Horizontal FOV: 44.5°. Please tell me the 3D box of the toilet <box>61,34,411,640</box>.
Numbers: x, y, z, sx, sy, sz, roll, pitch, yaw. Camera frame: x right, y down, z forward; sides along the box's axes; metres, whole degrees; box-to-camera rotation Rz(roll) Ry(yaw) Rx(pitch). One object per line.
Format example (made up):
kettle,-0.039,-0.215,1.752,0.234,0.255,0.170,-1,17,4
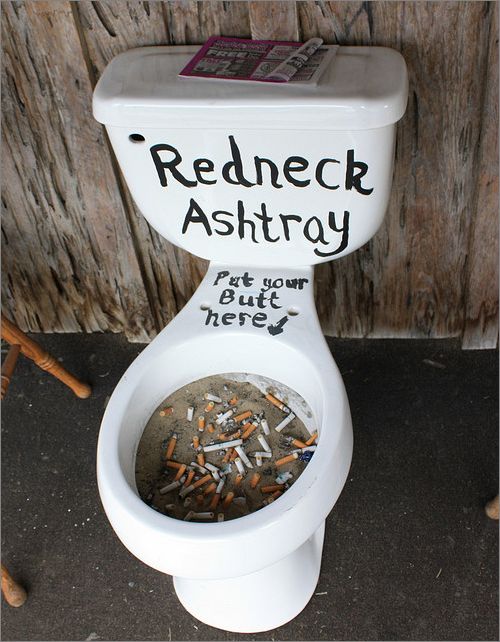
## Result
toilet,-0.046,-0.034,0.917,0.463,0.486,0.725,9,51,17
